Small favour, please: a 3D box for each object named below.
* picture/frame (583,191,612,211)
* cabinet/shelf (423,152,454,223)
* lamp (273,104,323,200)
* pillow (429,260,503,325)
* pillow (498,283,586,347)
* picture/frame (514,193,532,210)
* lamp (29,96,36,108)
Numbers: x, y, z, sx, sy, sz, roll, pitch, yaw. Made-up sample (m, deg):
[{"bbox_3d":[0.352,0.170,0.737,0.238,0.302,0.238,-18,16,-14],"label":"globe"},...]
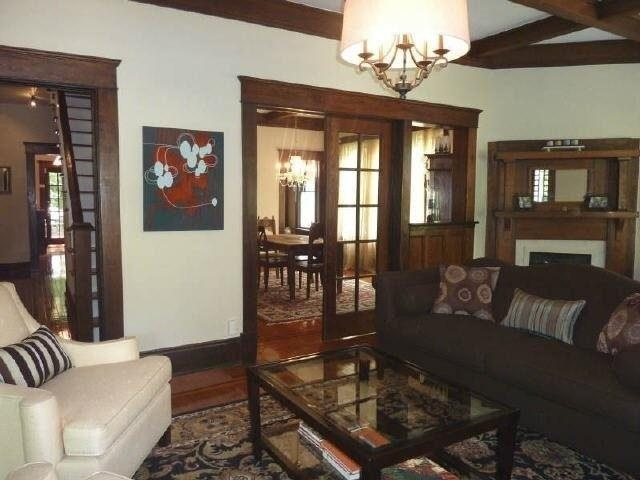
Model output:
[{"bbox_3d":[3.206,-0.448,6.008,0.282,0.191,0.141,4,13,21],"label":"picture/frame"},{"bbox_3d":[1.433,-0.644,6.236,0.320,0.810,0.398,2,12,13],"label":"cabinet/shelf"},{"bbox_3d":[-0.449,-1.585,10.407,0.621,1.289,0.842,8,15,35],"label":"lamp"},{"bbox_3d":[1.279,0.442,4.522,0.489,0.483,0.154,2,-22,23],"label":"pillow"},{"bbox_3d":[1.721,0.426,3.983,0.292,0.293,0.645,-25,19,-35],"label":"pillow"},{"bbox_3d":[2.428,-0.447,6.222,0.222,0.220,0.162,-2,1,-13],"label":"picture/frame"},{"bbox_3d":[-4.901,-2.363,8.793,0.112,0.214,0.115,1,2,1],"label":"lamp"}]
